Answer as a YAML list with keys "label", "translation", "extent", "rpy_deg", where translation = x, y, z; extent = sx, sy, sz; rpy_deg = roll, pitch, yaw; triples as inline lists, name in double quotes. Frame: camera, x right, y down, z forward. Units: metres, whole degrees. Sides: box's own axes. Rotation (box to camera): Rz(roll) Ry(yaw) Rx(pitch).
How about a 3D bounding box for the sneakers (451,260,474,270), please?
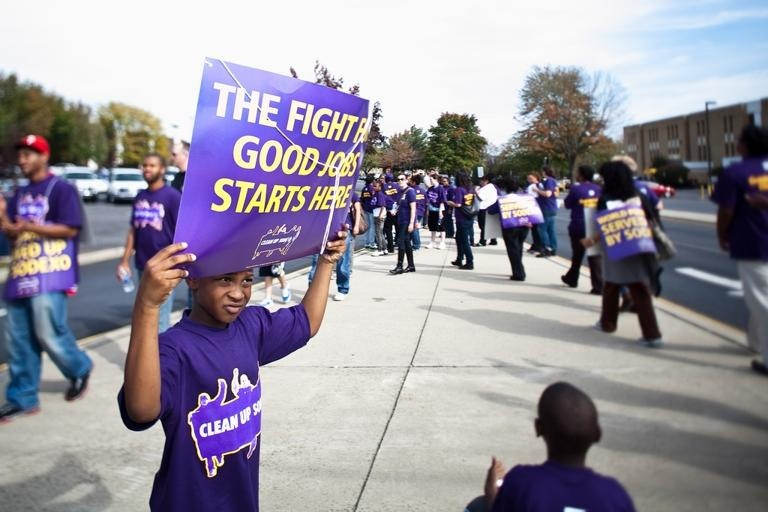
- label: "sneakers"
  translation: [1.950, 0.250, 11.960]
  extent: [0.538, 0.218, 0.187]
  rpy_deg: [10, 21, 38]

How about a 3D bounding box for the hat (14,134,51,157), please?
- label: "hat"
  translation: [-3.205, -1.022, 4.489]
  extent: [0.197, 0.125, 0.240]
  rpy_deg: [4, 9, -2]

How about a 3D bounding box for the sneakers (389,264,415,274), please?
- label: "sneakers"
  translation: [0.481, 0.306, 11.504]
  extent: [0.646, 0.259, 0.218]
  rpy_deg: [-1, 1, -27]

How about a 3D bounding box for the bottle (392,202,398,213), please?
- label: "bottle"
  translation: [0.318, -1.321, 13.358]
  extent: [0.157, 0.269, 0.094]
  rpy_deg: [5, -2, 44]

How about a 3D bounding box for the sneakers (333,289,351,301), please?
- label: "sneakers"
  translation: [-0.754, 0.723, 8.860]
  extent: [0.174, 0.182, 0.482]
  rpy_deg: [0, -1, 8]

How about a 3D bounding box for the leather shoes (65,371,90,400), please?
- label: "leather shoes"
  translation: [-3.083, 1.311, 4.856]
  extent: [0.136, 0.355, 0.137]
  rpy_deg: [12, 0, 0]
